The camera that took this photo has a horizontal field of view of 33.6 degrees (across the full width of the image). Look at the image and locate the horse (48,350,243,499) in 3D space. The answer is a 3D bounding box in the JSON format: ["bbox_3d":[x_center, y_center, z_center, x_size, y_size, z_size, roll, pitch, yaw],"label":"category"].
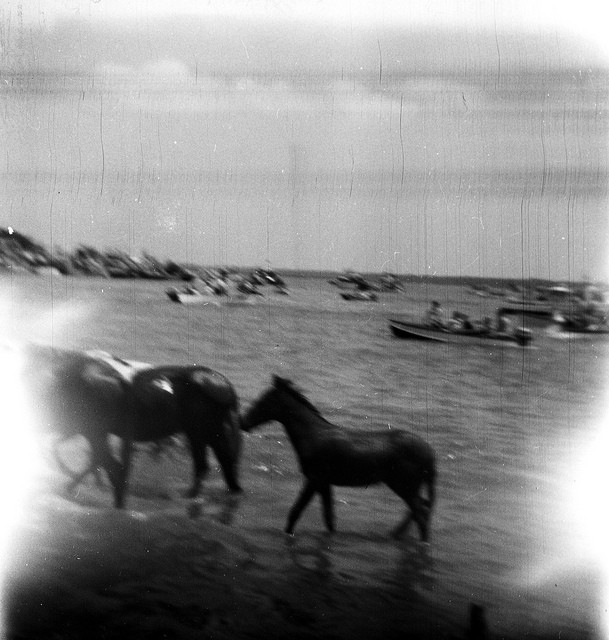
[{"bbox_3d":[-0.363,0.243,2.352,0.411,0.343,0.133,5,9,2],"label":"horse"}]
